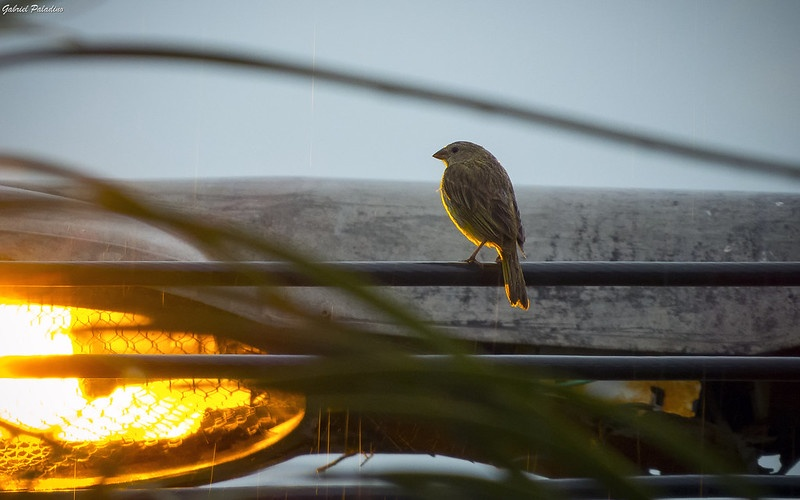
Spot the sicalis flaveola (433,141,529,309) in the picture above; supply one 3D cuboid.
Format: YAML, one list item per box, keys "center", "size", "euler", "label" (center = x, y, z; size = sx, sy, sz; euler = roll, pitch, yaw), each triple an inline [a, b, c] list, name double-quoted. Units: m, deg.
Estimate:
- center: [0.346, -0.149, 4.638]
  size: [0.306, 0.491, 0.643]
  euler: [2, 16, -35]
  label: "sicalis flaveola"
